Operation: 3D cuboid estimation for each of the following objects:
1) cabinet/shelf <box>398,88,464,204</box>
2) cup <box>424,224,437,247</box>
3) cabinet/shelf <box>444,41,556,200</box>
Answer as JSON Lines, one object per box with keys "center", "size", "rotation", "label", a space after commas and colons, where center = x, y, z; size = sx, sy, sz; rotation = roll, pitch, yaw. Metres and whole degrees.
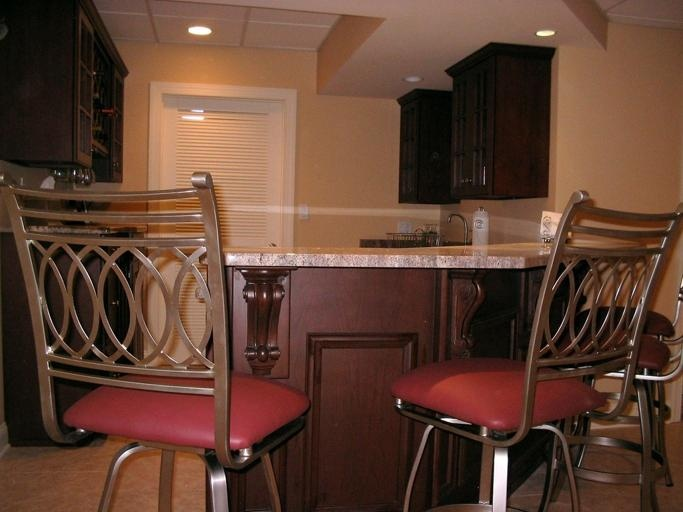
{"center": [0.740, -0.931, 5.223], "size": [0.389, 0.961, 0.581], "rotation": [-1, 7, -14], "label": "cabinet/shelf"}
{"center": [0.783, -0.181, 5.191], "size": [0.168, 0.177, 0.177], "rotation": [0, 8, 0], "label": "cup"}
{"center": [1.088, -0.922, 3.955], "size": [0.582, 1.324, 0.951], "rotation": [0, 2, -12], "label": "cabinet/shelf"}
